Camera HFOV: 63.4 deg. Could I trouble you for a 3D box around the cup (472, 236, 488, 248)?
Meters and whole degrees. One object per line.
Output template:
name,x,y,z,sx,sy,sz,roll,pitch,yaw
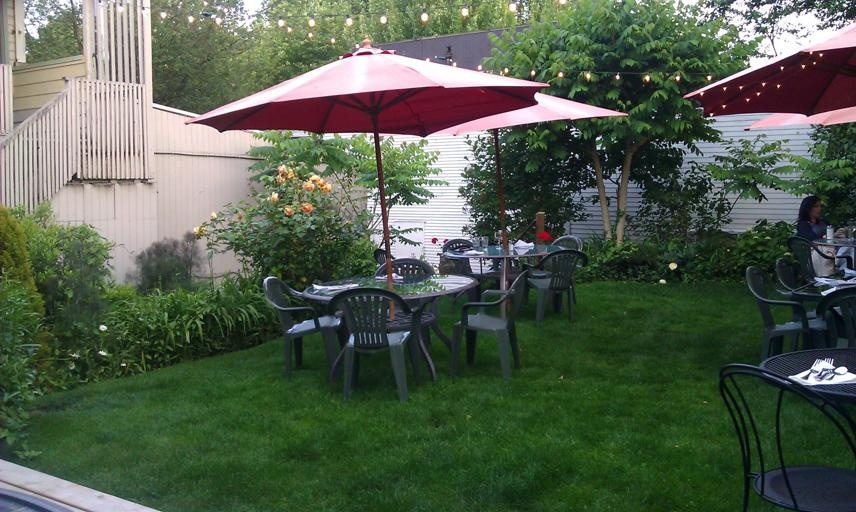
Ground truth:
cup,0.923,-0.230,12.009,0.187,0.239,0.326,-6,6,-43

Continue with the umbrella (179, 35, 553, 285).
umbrella,-0.762,-1.647,9.674,3.909,2.726,3.953,-1,2,-2

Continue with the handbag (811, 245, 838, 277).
handbag,6.414,0.093,11.201,0.459,0.473,0.512,-4,-1,-27
